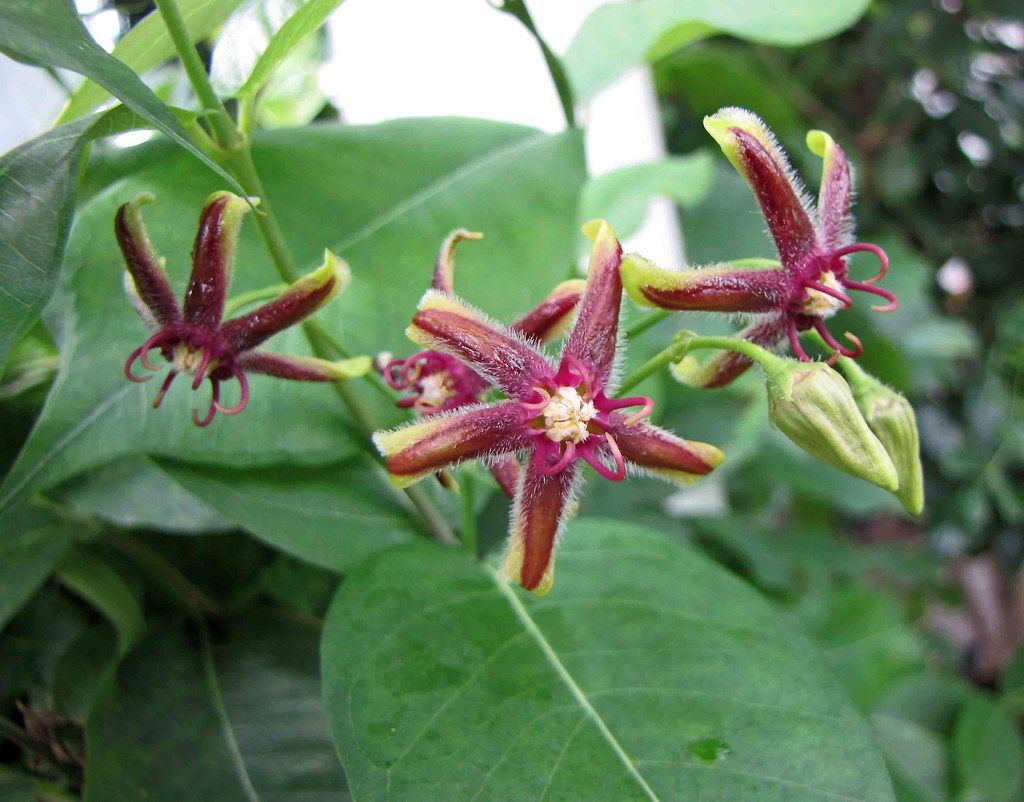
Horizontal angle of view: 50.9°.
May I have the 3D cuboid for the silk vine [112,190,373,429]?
[{"bbox_3d":[-0.171,-0.019,0.692,0.151,0.113,0.138,36,12,30],"label":"silk vine"}]
